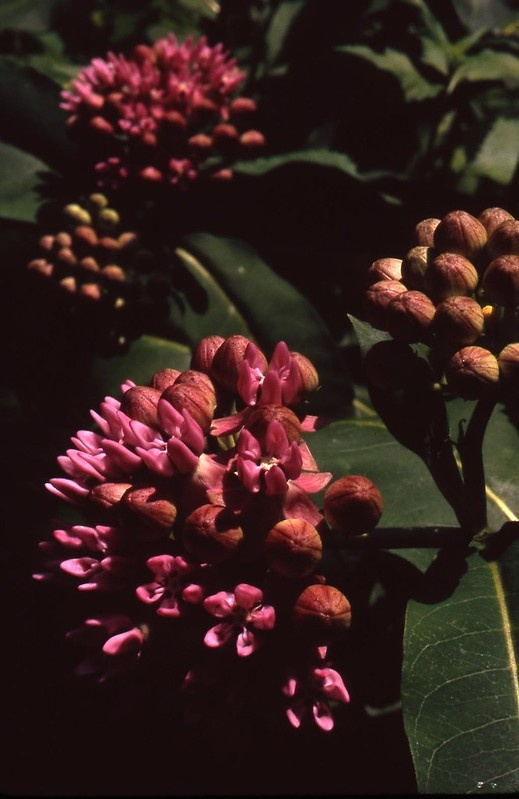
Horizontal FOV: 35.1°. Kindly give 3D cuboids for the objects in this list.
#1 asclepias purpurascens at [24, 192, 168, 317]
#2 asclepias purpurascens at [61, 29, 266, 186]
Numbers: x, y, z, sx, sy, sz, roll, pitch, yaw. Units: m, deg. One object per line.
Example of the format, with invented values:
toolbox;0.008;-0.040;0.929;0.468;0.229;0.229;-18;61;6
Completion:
asclepias purpurascens;-0.212;-0.197;1.112;0.116;0.156;0.146;31;34;17
asclepias purpurascens;-0.099;-0.380;1.124;0.266;0.194;0.111;-21;5;-1
